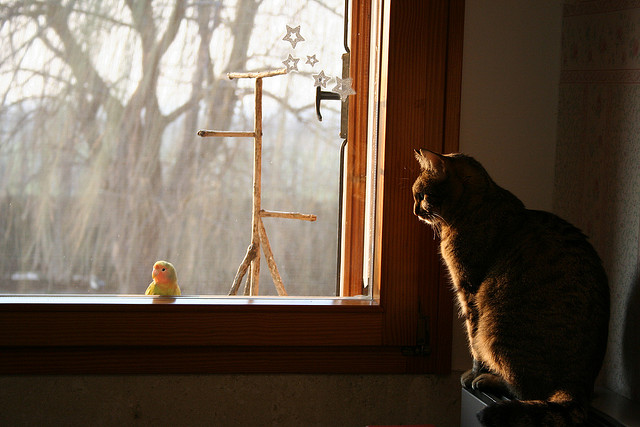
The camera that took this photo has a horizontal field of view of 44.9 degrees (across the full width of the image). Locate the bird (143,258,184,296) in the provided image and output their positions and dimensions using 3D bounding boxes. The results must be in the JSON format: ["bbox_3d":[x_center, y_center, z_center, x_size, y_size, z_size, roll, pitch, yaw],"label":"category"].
[{"bbox_3d":[-0.437,0.193,2.215,0.107,0.124,0.113,5,6,17],"label":"bird"}]
